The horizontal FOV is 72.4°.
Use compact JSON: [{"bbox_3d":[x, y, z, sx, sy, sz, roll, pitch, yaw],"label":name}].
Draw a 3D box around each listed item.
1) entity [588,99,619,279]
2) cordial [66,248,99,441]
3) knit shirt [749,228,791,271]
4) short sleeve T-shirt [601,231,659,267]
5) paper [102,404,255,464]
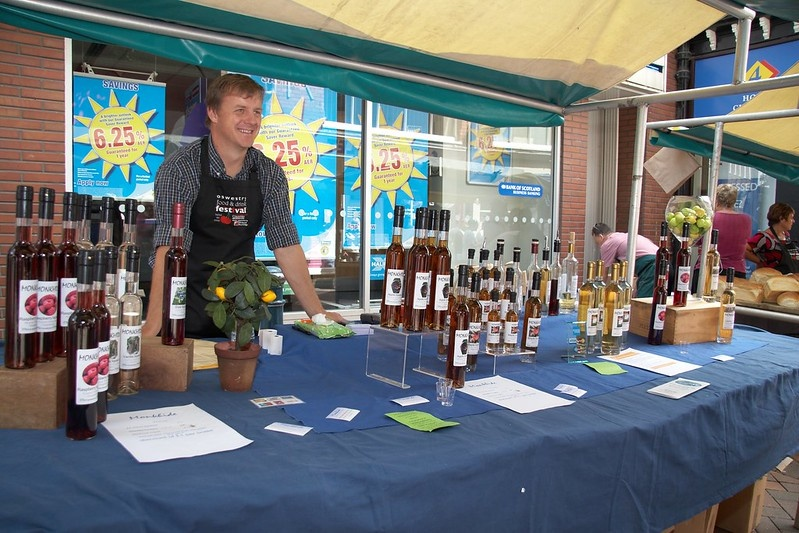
[{"bbox_3d":[2.864,-1.267,7.512,0.189,1.805,0.462,-13,12,-35],"label":"entity"},{"bbox_3d":[-0.997,0.246,1.692,0.102,0.606,0.112,-2,17,-27],"label":"cordial"},{"bbox_3d":[3.690,-0.162,5.374,0.523,0.405,0.288,-7,-2,-35],"label":"knit shirt"},{"bbox_3d":[2.155,-0.151,5.117,0.362,0.159,0.553,4,9,38],"label":"short sleeve T-shirt"},{"bbox_3d":[-0.748,0.542,1.785,0.432,0.020,0.304,14,15,42],"label":"paper"}]
